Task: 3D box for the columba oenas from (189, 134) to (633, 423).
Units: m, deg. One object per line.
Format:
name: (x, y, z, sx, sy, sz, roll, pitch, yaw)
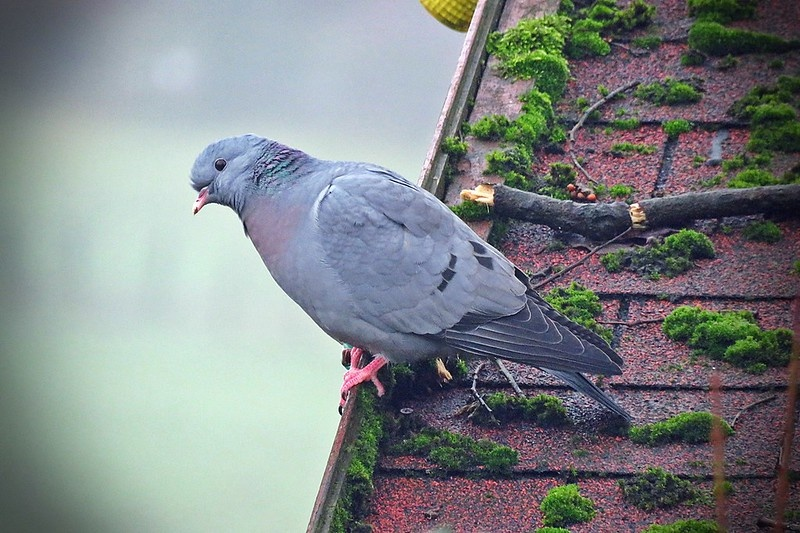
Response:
columba oenas: (-0.100, 0.157, 11.836, 3.359, 2.229, 0.746, 6, 25, 15)
